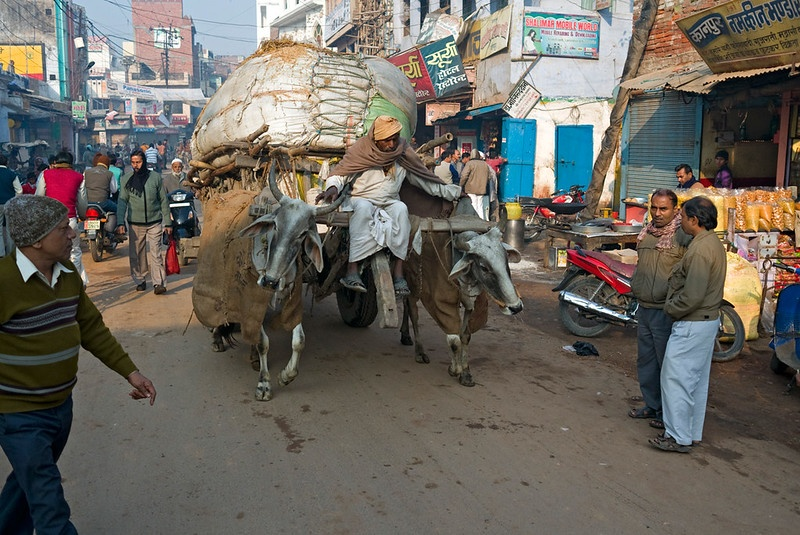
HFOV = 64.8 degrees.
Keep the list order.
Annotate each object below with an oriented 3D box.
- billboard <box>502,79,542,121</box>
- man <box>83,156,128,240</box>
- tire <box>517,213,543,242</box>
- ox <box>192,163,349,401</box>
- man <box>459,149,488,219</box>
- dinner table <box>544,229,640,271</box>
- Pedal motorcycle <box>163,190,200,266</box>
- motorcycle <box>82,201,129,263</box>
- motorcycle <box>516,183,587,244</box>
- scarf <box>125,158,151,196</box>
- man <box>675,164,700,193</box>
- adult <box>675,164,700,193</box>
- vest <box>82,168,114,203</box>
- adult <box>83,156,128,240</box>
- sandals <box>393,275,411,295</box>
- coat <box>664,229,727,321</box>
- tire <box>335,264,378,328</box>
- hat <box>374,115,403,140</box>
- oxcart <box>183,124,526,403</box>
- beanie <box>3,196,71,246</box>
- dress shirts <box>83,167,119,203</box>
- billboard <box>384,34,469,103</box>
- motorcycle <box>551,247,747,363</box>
[{"bbox_3d":[3.388,-4.842,18.012,0.806,0.958,1.024,-42,-6,24],"label":"billboard"},{"bbox_3d":[-6.310,-1.623,13.334,0.771,1.726,1.743,5,21,-19],"label":"man"},{"bbox_3d":[3.207,-1.025,15.660,0.830,0.843,0.238,2,8,11],"label":"tire"},{"bbox_3d":[-1.659,0.116,7.263,1.177,2.477,3.400,-4,13,-28],"label":"ox"},{"bbox_3d":[1.717,-1.861,14.457,0.673,1.739,0.529,0,12,-5],"label":"man"},{"bbox_3d":[3.317,-0.276,11.475,1.274,0.590,0.997,22,-13,-20],"label":"dinner table"},{"bbox_3d":[-4.643,-1.045,13.785,0.903,1.364,2.257,-6,4,-14],"label":"Pedal motorcycle"},{"bbox_3d":[-6.002,-0.722,12.667,0.731,0.877,1.417,-3,16,-6],"label":"motorcycle"},{"bbox_3d":[3.990,-1.488,16.151,2.358,1.437,1.091,-1,10,-3],"label":"motorcycle"},{"bbox_3d":[-4.183,-1.532,10.156,0.390,0.661,0.382,-1,11,-7],"label":"scarf"},{"bbox_3d":[4.897,-1.572,10.741,0.411,0.377,0.902,6,12,23],"label":"man"},{"bbox_3d":[4.892,-1.570,10.731,0.414,0.377,1.155,6,12,23],"label":"adult"},{"bbox_3d":[-6.223,-1.669,13.018,0.600,0.806,0.318,2,-14,-31],"label":"vest"},{"bbox_3d":[-6.303,-1.631,13.319,0.772,1.699,1.696,6,21,-19],"label":"adult"},{"bbox_3d":[0.009,0.201,6.888,0.156,0.204,0.148,0,11,-2],"label":"sandals"},{"bbox_3d":[2.722,0.064,5.874,0.462,0.804,0.776,7,10,30],"label":"coat"},{"bbox_3d":[-0.527,0.345,7.937,0.294,0.842,0.775,-4,7,-32],"label":"tire"},{"bbox_3d":[-0.130,-1.558,6.961,0.231,0.226,0.284,-22,16,-38],"label":"hat"},{"bbox_3d":[-0.849,-0.295,7.721,2.713,2.280,3.645,-2,9,-21],"label":"oxcart"},{"bbox_3d":[-2.485,-0.353,4.404,0.375,0.314,0.328,-21,36,-17],"label":"beanie"},{"bbox_3d":[-6.116,-1.647,12.903,0.611,0.431,0.815,-1,44,-26],"label":"dress shirts"},{"bbox_3d":[0.734,-6.381,20.465,2.706,1.752,0.126,-4,28,38],"label":"billboard"},{"bbox_3d":[3.355,0.311,8.342,2.351,1.559,1.214,9,11,22],"label":"motorcycle"}]
